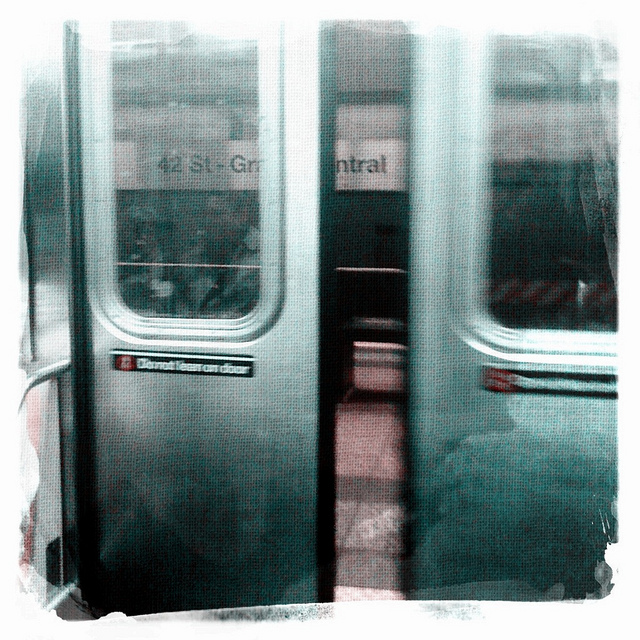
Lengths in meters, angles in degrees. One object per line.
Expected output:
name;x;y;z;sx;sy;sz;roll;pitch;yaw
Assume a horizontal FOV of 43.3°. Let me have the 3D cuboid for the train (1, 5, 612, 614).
train;0.052;-0.080;2.298;1.753;1.497;0.937;1;9;6
